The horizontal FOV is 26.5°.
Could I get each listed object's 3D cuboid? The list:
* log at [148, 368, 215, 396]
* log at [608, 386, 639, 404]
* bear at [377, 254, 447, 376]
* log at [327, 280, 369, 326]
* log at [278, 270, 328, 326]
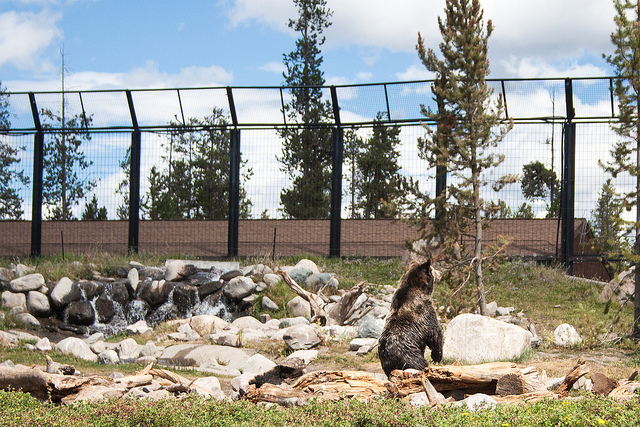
[{"bbox_3d":[-4.615,5.407,43.828,2.022,0.705,0.507,-1,1,22],"label":"log"},{"bbox_3d":[9.577,5.746,43.011,0.856,0.398,0.910,-1,1,17],"label":"log"},{"bbox_3d":[2.929,3.342,44.058,2.009,3.718,1.010,-1,1,-3],"label":"bear"},{"bbox_3d":[0.918,3.228,48.535,1.369,1.551,0.984,-1,1,-4],"label":"log"},{"bbox_3d":[-0.446,3.233,49.154,2.769,0.865,1.078,43,-21,17],"label":"log"}]
